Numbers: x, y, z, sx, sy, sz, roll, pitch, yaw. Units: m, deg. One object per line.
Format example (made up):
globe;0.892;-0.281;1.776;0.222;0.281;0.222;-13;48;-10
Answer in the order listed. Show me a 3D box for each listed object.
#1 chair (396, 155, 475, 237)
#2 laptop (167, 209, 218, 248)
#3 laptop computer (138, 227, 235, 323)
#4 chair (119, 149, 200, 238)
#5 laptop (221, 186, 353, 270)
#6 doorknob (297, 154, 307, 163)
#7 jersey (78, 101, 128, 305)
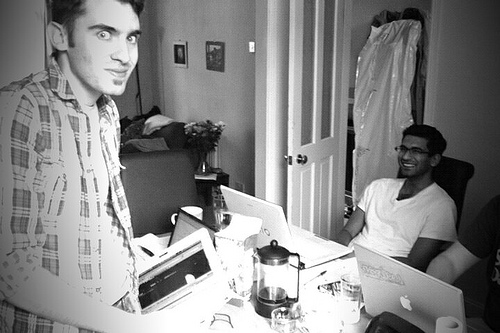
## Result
chair;1.344;0.159;2.957;0.522;0.590;0.512;6;7;36
laptop;-0.267;0.297;1.995;0.158;0.178;0.245;0;8;-43
laptop computer;-0.286;0.435;1.642;0.410;0.342;0.170;5;16;18
chair;-0.562;0.178;2.901;0.553;0.679;0.541;-7;-2;-20
laptop;0.191;0.280;2.141;0.454;0.339;0.572;-14;21;-40
doorknob;0.399;-0.061;3.090;0.091;0.074;0.017;-6;17;-21
jersey;-0.577;0.151;1.594;0.099;0.804;0.167;-7;17;-23
